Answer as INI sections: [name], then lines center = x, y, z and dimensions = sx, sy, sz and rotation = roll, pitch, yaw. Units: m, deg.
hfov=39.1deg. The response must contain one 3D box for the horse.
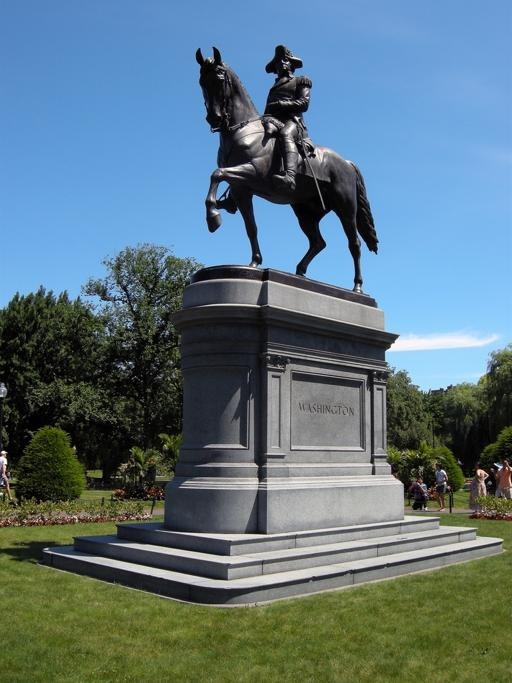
[horse]
center = 0.525, -2.938, 13.032
dimensions = 1.294, 3.761, 4.132
rotation = -1, -4, 34
